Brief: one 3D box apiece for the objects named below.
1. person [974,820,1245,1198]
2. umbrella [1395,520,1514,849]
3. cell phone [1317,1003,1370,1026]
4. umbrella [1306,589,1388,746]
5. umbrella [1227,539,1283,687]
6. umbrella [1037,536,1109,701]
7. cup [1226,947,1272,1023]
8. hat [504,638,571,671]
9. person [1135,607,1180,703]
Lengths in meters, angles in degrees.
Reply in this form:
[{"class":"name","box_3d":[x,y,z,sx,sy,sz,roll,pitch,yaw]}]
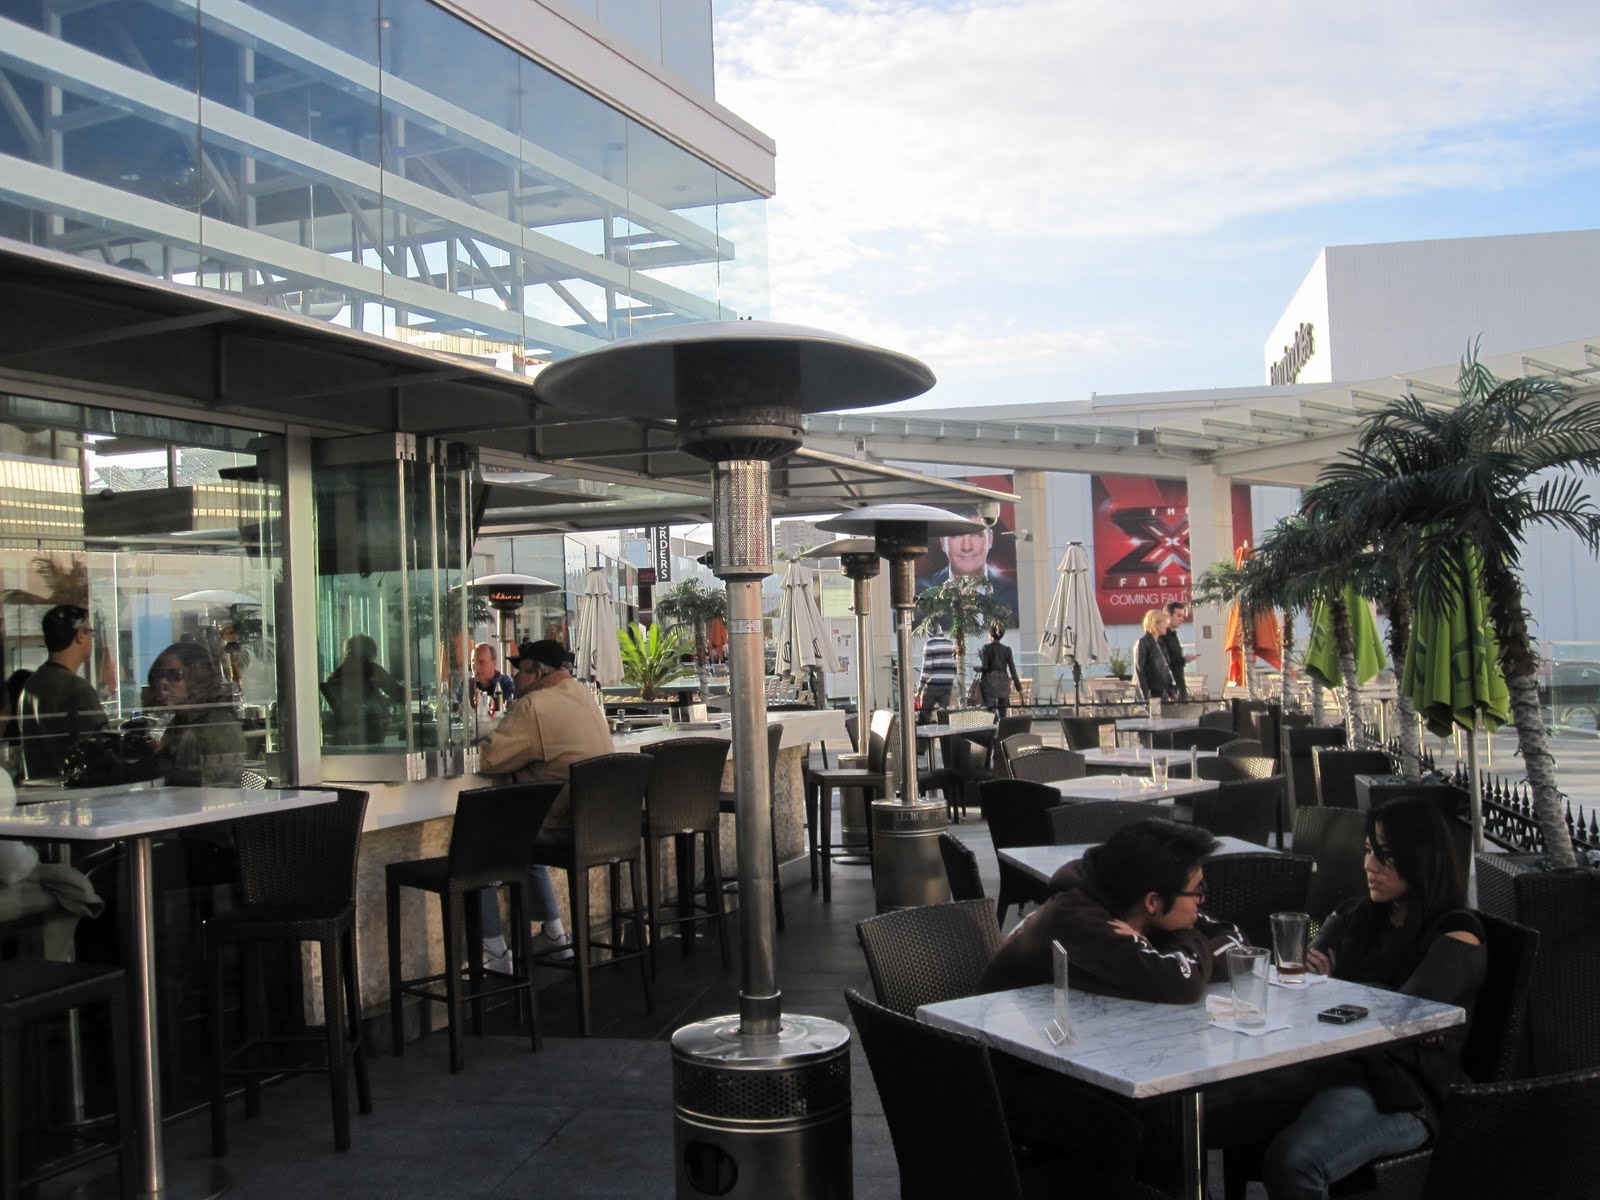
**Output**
[{"class":"person","box_3d":[0.945,1.303,4.445,0.737,1.137,0.662,-2,1,14]},{"class":"umbrella","box_3d":[3.864,0.479,8.206,0.520,1.634,0.475,-9,-19,25]},{"class":"cell phone","box_3d":[1.637,1.245,4.199,0.157,0.030,0.106,-2,1,2]},{"class":"umbrella","box_3d":[5.183,0.490,13.110,0.504,1.439,0.530,-15,17,-35]},{"class":"umbrella","box_3d":[6.237,0.338,19.536,0.726,1.439,0.918,-16,16,11]},{"class":"umbrella","box_3d":[4.109,0.065,20.965,0.893,1.924,1.348,-2,1,11]},{"class":"cup","box_3d":[1.389,1.158,4.245,0.147,0.220,0.078,-3,1,-29]},{"class":"hat","box_3d":[-1.493,0.300,8.046,0.310,0.102,0.215,3,0,28]},{"class":"person","box_3d":[3.856,0.635,15.086,0.427,1.073,1.726,-2,1,15]}]
